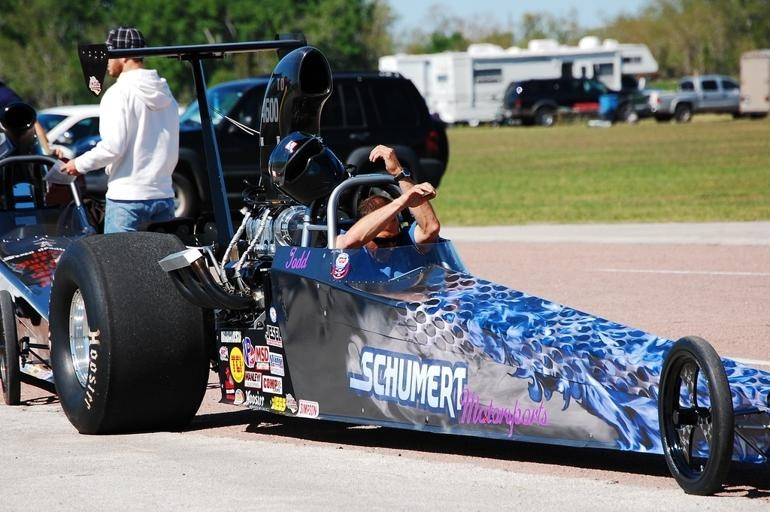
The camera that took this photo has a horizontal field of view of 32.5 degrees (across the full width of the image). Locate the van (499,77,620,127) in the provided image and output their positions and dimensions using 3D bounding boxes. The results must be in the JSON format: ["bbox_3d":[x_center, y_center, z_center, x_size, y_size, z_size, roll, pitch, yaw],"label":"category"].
[{"bbox_3d":[4.941,-4.348,39.113,3.217,1.280,1.675,-3,8,17],"label":"van"}]

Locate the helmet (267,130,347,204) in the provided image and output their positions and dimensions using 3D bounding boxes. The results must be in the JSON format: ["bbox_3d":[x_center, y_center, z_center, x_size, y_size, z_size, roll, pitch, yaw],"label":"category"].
[{"bbox_3d":[-0.655,-0.679,10.470,0.478,0.472,0.601,26,-13,-11],"label":"helmet"}]

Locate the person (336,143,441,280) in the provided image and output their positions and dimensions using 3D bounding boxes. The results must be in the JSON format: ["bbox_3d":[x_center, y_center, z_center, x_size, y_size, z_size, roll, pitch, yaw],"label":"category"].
[{"bbox_3d":[-0.027,-0.276,10.141,0.777,1.137,0.731,-8,18,5],"label":"person"}]

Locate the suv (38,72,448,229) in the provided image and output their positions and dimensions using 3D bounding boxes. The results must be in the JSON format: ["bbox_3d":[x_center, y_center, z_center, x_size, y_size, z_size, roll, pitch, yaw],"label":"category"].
[{"bbox_3d":[-1.739,-1.887,21.075,5.384,2.600,2.658,1,2,-14],"label":"suv"}]

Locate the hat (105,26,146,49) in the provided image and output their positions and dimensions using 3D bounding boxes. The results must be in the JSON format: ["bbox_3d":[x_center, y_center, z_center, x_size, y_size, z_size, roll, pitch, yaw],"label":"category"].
[{"bbox_3d":[-2.191,-1.859,11.153,0.309,0.170,0.449,-5,10,-10],"label":"hat"}]
